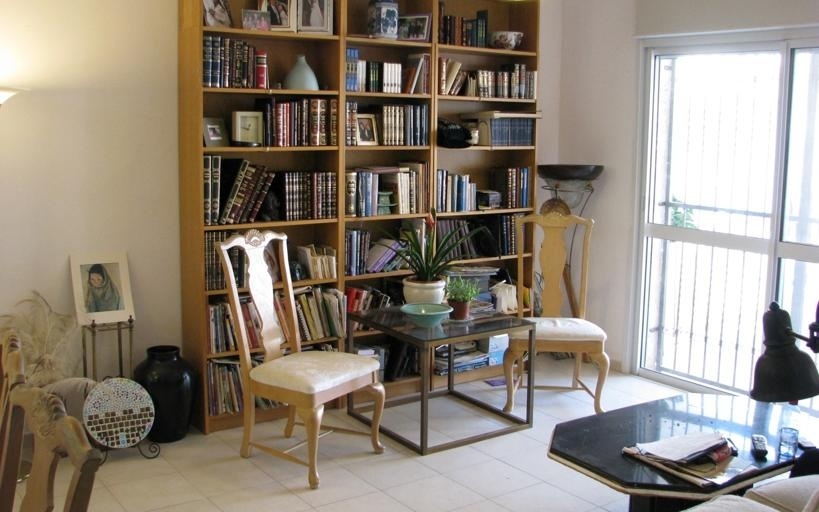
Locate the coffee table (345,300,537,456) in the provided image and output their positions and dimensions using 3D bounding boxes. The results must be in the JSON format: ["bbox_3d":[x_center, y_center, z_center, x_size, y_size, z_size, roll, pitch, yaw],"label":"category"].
[{"bbox_3d":[0.158,0.832,4.862,1.245,0.952,1.264,-4,5,-34],"label":"coffee table"}]

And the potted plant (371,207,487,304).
[{"bbox_3d":[0.294,-0.005,4.971,0.896,0.554,0.795,0,5,-29],"label":"potted plant"}]

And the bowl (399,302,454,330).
[{"bbox_3d":[0.137,0.446,4.512,0.380,0.154,0.267,-3,11,1],"label":"bowl"}]

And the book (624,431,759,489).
[{"bbox_3d":[1.516,1.090,3.322,0.521,0.109,0.436,6,14,38],"label":"book"}]

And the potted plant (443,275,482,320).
[{"bbox_3d":[0.440,0.323,4.760,0.315,0.330,0.343,2,3,16],"label":"potted plant"}]

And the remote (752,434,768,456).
[{"bbox_3d":[1.992,1.077,3.409,0.072,0.030,0.121,2,17,13],"label":"remote"}]

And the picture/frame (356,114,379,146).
[{"bbox_3d":[-0.354,-1.050,4.968,0.303,0.304,0.027,-5,3,-40],"label":"picture/frame"}]

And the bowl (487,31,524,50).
[{"bbox_3d":[0.862,-1.960,5.452,0.238,0.095,0.236,0,10,0],"label":"bowl"}]
